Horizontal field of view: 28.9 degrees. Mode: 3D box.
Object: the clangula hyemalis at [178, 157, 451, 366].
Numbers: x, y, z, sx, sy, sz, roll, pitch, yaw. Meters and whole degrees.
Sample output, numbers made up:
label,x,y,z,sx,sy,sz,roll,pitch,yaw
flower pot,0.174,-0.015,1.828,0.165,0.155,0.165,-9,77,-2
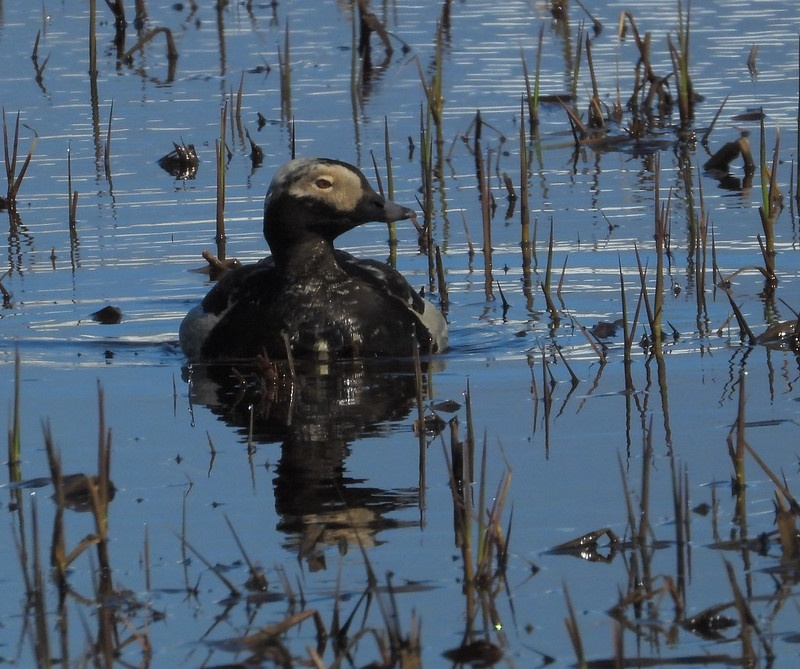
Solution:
label,x,y,z,sx,sy,sz,roll,pitch,yaw
clangula hyemalis,-0.514,-0.415,8.763,1.482,1.140,0.612,-3,2,0
